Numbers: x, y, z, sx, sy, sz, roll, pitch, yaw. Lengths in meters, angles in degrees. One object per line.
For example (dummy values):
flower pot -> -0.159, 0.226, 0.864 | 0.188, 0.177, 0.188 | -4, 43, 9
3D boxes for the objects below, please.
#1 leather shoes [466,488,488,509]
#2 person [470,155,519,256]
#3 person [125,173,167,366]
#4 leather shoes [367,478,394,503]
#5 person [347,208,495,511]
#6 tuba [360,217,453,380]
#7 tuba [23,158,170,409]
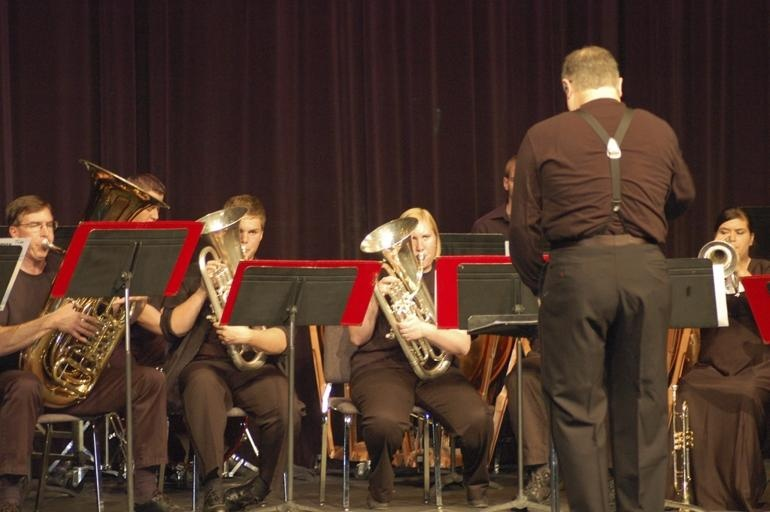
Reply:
leather shoes -> 0.623, 1.640, 7.063 | 0.140, 0.150, 0.120 | 0, -15, 6
person -> 0.840, -0.389, 8.048 | 0.316, 0.781, 0.323 | 2, 12, 4
person -> -1.685, 0.130, 7.466 | 0.426, 1.437, 0.380 | -2, 6, -23
leather shoes -> -0.034, 1.601, 7.073 | 0.190, 0.187, 0.114 | 0, -1, -2
person -> 0.225, 0.626, 7.274 | 1.003, 1.984, 1.147 | 4, 8, 19
tuba -> 0.120, 0.225, 7.214 | 0.648, 1.170, 0.547 | 0, 11, -2
tuba -> -2.074, 0.317, 6.993 | 0.860, 1.548, 0.794 | 22, -10, -38
